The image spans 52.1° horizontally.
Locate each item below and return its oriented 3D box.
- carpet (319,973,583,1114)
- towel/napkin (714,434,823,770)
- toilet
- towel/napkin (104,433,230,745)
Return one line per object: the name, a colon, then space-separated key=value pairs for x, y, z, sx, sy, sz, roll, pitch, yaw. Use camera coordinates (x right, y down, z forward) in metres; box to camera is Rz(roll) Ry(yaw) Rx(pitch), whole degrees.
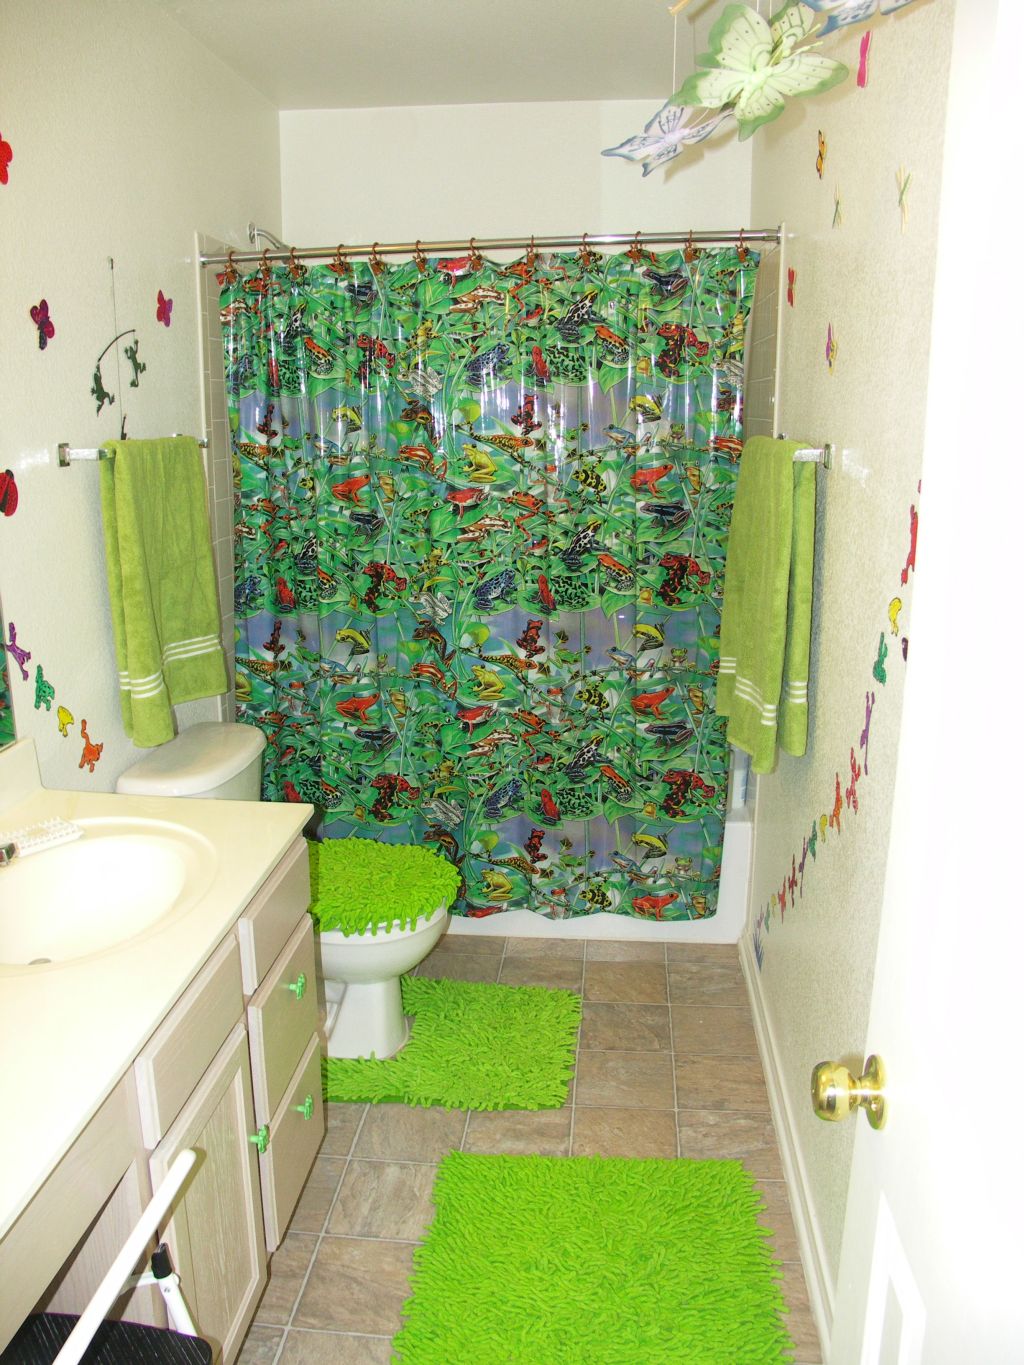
carpet: x=-0.049 y=0.880 z=2.534 sx=0.441 sy=0.024 sz=0.474 roll=10 pitch=21 yaw=12
towel/napkin: x=0.511 y=-0.130 z=2.145 sx=0.176 sy=0.718 sz=0.426 roll=2 pitch=14 yaw=10
toilet: x=-0.411 y=0.420 z=2.550 sx=0.834 sy=0.832 sz=0.560 roll=0 pitch=13 yaw=-1
towel/napkin: x=-0.723 y=-0.199 z=2.135 sx=0.170 sy=0.577 sz=0.393 roll=-1 pitch=13 yaw=-2
